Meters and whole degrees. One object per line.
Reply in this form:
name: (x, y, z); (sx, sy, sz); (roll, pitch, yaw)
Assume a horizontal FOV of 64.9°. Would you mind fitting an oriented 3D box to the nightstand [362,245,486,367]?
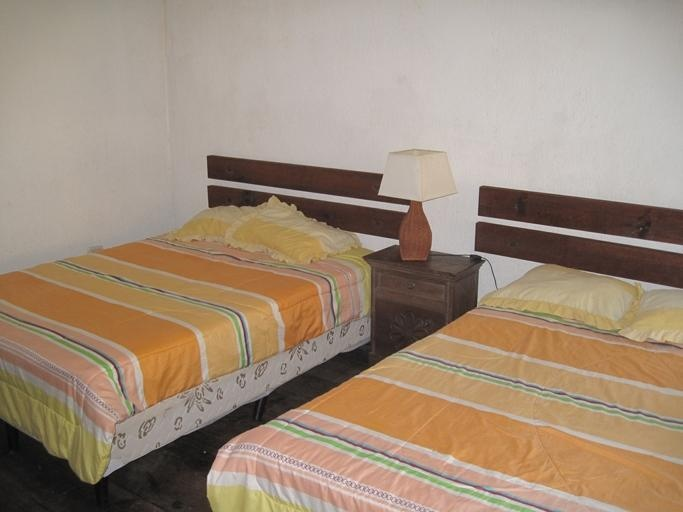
nightstand: (0.505, 0.301, 3.298); (0.794, 0.840, 0.509); (11, 18, 36)
